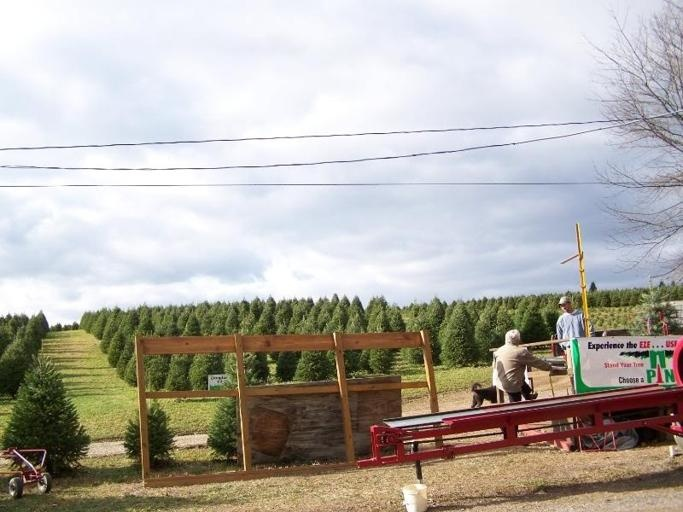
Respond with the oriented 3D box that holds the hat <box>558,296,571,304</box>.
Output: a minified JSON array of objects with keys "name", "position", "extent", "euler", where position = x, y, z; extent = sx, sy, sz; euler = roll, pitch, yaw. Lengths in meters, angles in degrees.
[{"name":"hat","position":[6.054,1.205,16.308],"extent":[0.343,0.186,0.231],"euler":[11,-16,-19]}]

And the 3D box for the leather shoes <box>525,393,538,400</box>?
[{"name":"leather shoes","position":[4.511,3.354,14.403],"extent":[0.250,0.193,0.261],"euler":[1,-5,-11]}]
